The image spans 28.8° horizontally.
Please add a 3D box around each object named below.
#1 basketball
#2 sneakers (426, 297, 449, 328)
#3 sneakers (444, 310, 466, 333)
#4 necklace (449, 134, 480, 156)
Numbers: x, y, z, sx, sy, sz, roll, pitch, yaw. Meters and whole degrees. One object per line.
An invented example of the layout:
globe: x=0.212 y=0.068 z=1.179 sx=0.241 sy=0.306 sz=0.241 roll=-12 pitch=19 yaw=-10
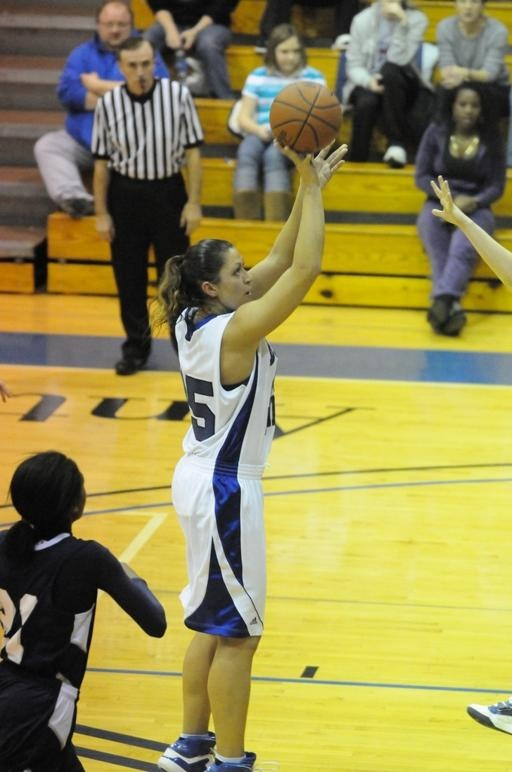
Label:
basketball: x=0.134 y=-0.652 z=2.386 sx=0.143 sy=0.177 sz=0.146 roll=-8 pitch=14 yaw=-2
sneakers: x=1.004 y=-0.398 z=5.502 sx=0.091 sy=0.178 sz=0.074 roll=14 pitch=-6 yaw=9
sneakers: x=1.087 y=-0.336 z=5.506 sx=0.076 sy=0.146 sz=0.139 roll=19 pitch=39 yaw=3
necklace: x=1.187 y=-1.363 z=5.712 sx=0.108 sy=0.144 sz=0.053 roll=5 pitch=28 yaw=10
